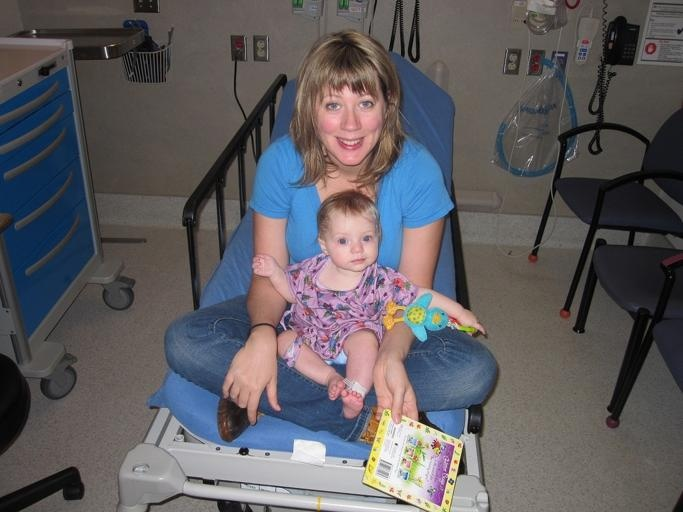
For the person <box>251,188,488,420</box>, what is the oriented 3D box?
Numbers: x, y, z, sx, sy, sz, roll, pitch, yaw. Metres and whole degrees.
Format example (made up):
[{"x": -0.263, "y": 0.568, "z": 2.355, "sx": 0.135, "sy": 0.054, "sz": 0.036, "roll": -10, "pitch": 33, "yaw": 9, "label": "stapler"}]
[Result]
[{"x": 0.089, "y": 0.136, "z": 1.849, "sx": 0.720, "sy": 0.589, "sz": 0.521, "roll": -5, "pitch": 26, "yaw": -16, "label": "person"}]

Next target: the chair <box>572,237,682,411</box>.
[{"x": 1.358, "y": 0.355, "z": 2.626, "sx": 0.435, "sy": 0.720, "sz": 0.448, "roll": -1, "pitch": 40, "yaw": 3, "label": "chair"}]

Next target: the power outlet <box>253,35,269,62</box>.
[{"x": -0.492, "y": -1.267, "z": 3.363, "sx": 0.086, "sy": 0.135, "sz": 0.039, "roll": 1, "pitch": 13, "yaw": 2, "label": "power outlet"}]

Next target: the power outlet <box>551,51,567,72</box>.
[{"x": 1.314, "y": -1.174, "z": 3.329, "sx": 0.095, "sy": 0.107, "sz": 0.023, "roll": -1, "pitch": 31, "yaw": -3, "label": "power outlet"}]

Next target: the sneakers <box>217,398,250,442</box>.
[{"x": -0.340, "y": 0.520, "z": 1.748, "sx": 0.060, "sy": 0.157, "sz": 0.073, "roll": -18, "pitch": -19, "yaw": 41, "label": "sneakers"}]

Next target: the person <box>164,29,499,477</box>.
[{"x": -0.042, "y": -0.098, "z": 1.958, "sx": 1.091, "sy": 1.366, "sz": 0.794, "roll": 0, "pitch": 44, "yaw": -2, "label": "person"}]

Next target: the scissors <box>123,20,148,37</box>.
[{"x": -1.260, "y": -1.400, "z": 3.376, "sx": 0.159, "sy": 0.077, "sz": 0.040, "roll": 9, "pitch": 33, "yaw": 12, "label": "scissors"}]

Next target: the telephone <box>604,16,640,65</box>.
[{"x": 1.657, "y": -1.264, "z": 3.261, "sx": 0.207, "sy": 0.265, "sz": 0.113, "roll": 7, "pitch": 32, "yaw": 9, "label": "telephone"}]

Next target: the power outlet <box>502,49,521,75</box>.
[{"x": 1.023, "y": -1.179, "z": 3.330, "sx": 0.117, "sy": 0.181, "sz": 0.023, "roll": 0, "pitch": 30, "yaw": 0, "label": "power outlet"}]

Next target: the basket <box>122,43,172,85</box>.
[{"x": -1.179, "y": -1.151, "z": 3.371, "sx": 0.238, "sy": 0.198, "sz": 0.220, "roll": -2, "pitch": 45, "yaw": -10, "label": "basket"}]
